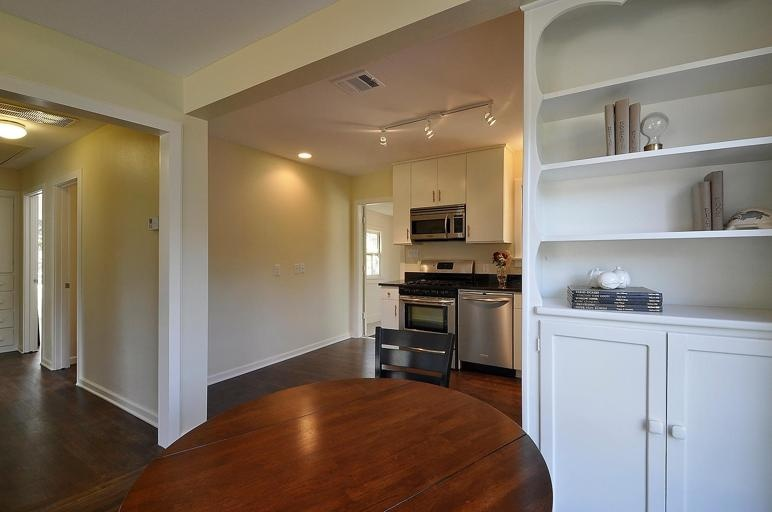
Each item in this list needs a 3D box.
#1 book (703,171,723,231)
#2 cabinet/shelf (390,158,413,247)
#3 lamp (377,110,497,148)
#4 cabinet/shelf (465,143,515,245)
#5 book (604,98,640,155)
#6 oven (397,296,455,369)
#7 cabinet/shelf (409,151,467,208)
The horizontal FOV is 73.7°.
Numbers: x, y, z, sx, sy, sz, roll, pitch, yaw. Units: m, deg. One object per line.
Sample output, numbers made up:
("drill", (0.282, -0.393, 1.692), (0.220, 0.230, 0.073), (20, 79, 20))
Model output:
("book", (1.905, -0.321, 2.969), (0.064, 0.260, 0.259), (0, 4, 26))
("cabinet/shelf", (0.275, -0.635, 6.430), (0.346, 1.006, 0.268), (-2, -4, 38))
("lamp", (0.479, -1.246, 5.015), (1.188, 0.321, 0.963), (3, 13, 6))
("cabinet/shelf", (1.137, -0.679, 5.773), (0.513, 1.068, 0.348), (4, 14, 8))
("book", (1.396, -0.749, 3.030), (0.218, 0.318, 0.155), (11, 16, 33))
("oven", (0.353, 0.826, 6.092), (0.765, 0.799, 0.566), (8, -7, -15))
("cabinet/shelf", (0.531, -0.872, 6.327), (0.900, 0.724, 0.312), (11, 18, 43))
